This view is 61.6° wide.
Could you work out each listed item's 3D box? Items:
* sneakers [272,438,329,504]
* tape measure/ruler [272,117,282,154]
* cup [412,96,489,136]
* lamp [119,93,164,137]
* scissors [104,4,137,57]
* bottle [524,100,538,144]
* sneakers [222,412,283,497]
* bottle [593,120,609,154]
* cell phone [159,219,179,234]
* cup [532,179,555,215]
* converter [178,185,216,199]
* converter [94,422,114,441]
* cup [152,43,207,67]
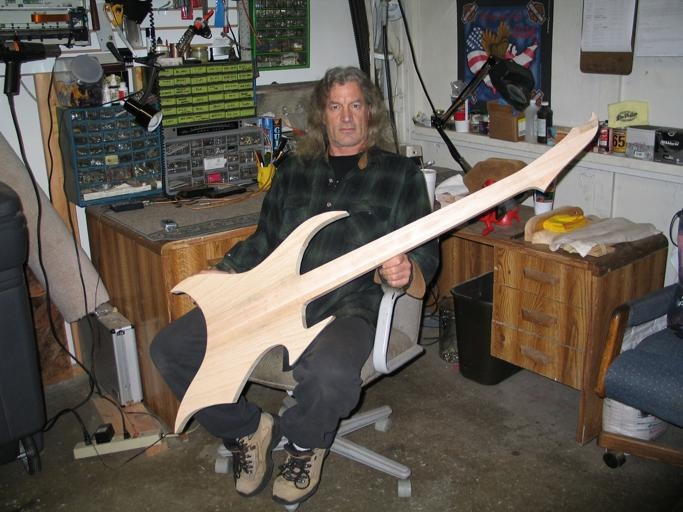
[{"bbox_3d":[-0.150,0.863,2.365,0.149,0.156,0.304,9,34,14],"label":"sneakers"},{"bbox_3d":[-0.368,-0.679,3.236,0.057,0.163,0.172,-2,27,-5],"label":"tape measure/ruler"},{"bbox_3d":[0.680,-0.850,3.484,0.389,0.090,0.198,12,52,36],"label":"cup"},{"bbox_3d":[-0.985,-0.691,2.825,0.170,0.151,0.101,13,40,37],"label":"lamp"},{"bbox_3d":[-1.142,-1.167,2.955,0.127,0.250,0.026,-7,20,-16],"label":"scissors"},{"bbox_3d":[1.045,-0.743,3.161,0.066,0.221,0.120,5,20,18],"label":"bottle"},{"bbox_3d":[-0.362,0.851,2.402,0.151,0.378,0.236,2,-3,21],"label":"sneakers"},{"bbox_3d":[1.325,-0.592,2.920,0.080,0.130,0.036,9,21,27],"label":"bottle"},{"bbox_3d":[-0.780,-0.137,2.579,0.063,0.040,0.063,-1,25,-11],"label":"cell phone"},{"bbox_3d":[0.975,-0.282,2.783,0.107,0.168,0.109,-7,18,2],"label":"cup"},{"bbox_3d":[-0.762,-0.334,3.005,0.139,0.032,0.080,-15,25,-38],"label":"converter"},{"bbox_3d":[-1.117,0.826,2.698,0.056,0.070,0.103,-23,10,-34],"label":"converter"},{"bbox_3d":[-0.824,-1.051,3.000,0.291,0.114,0.189,-8,19,-20],"label":"cup"}]
